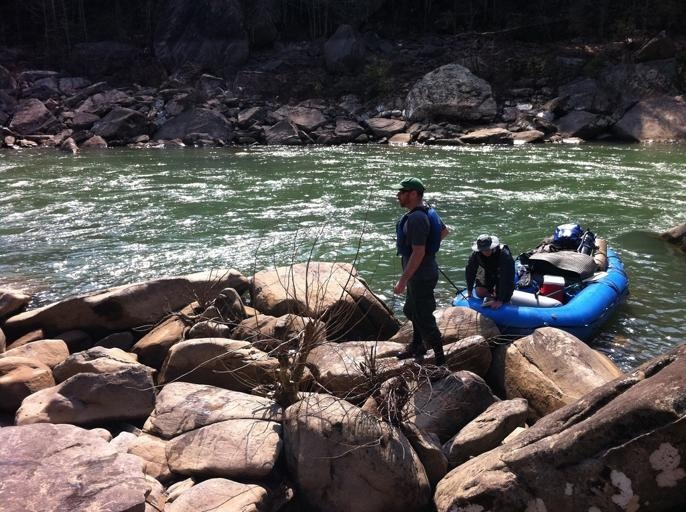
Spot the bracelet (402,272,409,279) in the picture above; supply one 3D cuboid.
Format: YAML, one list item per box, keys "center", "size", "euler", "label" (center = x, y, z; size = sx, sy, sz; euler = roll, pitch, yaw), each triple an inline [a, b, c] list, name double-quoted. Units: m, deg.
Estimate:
- center: [0.708, 0.215, 6.794]
  size: [0.069, 0.013, 0.060]
  euler: [2, 33, 23]
  label: "bracelet"

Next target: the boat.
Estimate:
- center: [3.246, 0.510, 9.618]
  size: [2.166, 0.837, 3.391]
  euler: [12, 29, 33]
  label: "boat"

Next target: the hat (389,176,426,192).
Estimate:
- center: [0.788, -0.833, 7.003]
  size: [0.547, 0.174, 0.301]
  euler: [3, 5, 1]
  label: "hat"

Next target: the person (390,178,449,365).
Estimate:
- center: [0.937, 0.189, 7.059]
  size: [0.717, 2.187, 0.903]
  euler: [4, 22, 4]
  label: "person"

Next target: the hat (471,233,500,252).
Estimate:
- center: [2.038, -0.194, 8.282]
  size: [0.317, 0.097, 0.306]
  euler: [9, 32, 34]
  label: "hat"

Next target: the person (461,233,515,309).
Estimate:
- center: [2.118, 0.182, 8.694]
  size: [0.624, 1.122, 0.707]
  euler: [-2, 22, -10]
  label: "person"
